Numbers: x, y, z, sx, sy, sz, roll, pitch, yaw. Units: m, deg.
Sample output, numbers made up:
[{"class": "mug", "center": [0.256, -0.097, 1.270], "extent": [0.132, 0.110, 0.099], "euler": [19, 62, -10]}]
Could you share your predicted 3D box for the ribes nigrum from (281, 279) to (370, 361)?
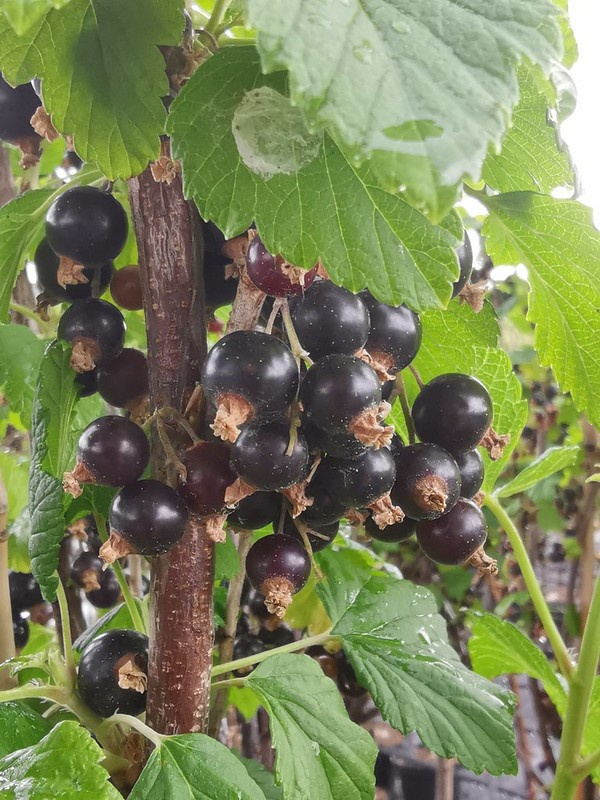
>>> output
[{"class": "ribes nigrum", "center": [0.020, -0.052, 0.560], "extent": [0.056, 0.057, 0.057], "euler": [-5, 6, 34]}]

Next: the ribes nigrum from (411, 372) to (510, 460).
[{"class": "ribes nigrum", "center": [0.114, 0.010, 0.639], "extent": [0.059, 0.063, 0.047], "euler": [1, -12, 5]}]

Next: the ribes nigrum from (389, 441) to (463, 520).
[{"class": "ribes nigrum", "center": [0.088, 0.056, 0.601], "extent": [0.060, 0.057, 0.052], "euler": [3, -21, 5]}]

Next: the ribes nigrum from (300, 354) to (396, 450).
[{"class": "ribes nigrum", "center": [0.028, -0.001, 0.536], "extent": [0.057, 0.056, 0.026], "euler": [2, -12, -1]}]

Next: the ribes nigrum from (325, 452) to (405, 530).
[{"class": "ribes nigrum", "center": [0.044, 0.060, 0.590], "extent": [0.054, 0.053, 0.044], "euler": [4, -11, -8]}]
